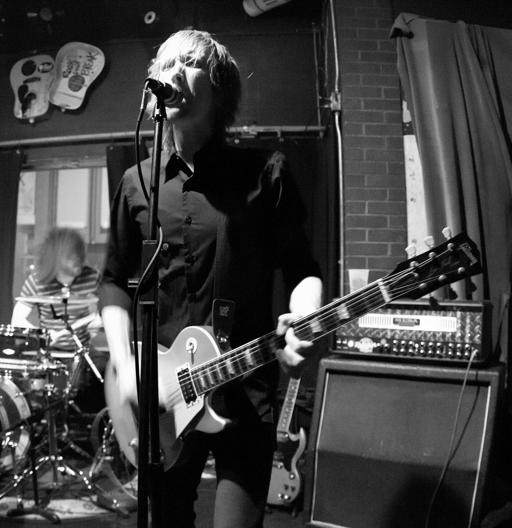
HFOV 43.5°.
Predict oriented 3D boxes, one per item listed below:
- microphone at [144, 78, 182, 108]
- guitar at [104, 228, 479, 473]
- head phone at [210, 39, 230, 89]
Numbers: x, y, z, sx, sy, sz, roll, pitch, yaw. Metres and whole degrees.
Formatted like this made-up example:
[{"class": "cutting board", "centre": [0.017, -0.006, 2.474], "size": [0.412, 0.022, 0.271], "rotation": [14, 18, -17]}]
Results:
[{"class": "microphone", "centre": [-0.272, -0.501, 1.896], "size": [0.040, 0.063, 0.142], "rotation": [7, -7, 24]}, {"class": "guitar", "centre": [0.082, 0.267, 2.004], "size": [1.139, 0.806, 0.145], "rotation": [4, -2, 1]}, {"class": "head phone", "centre": [-0.122, -0.650, 2.096], "size": [0.028, 0.141, 0.091], "rotation": [7, 15, 9]}]
